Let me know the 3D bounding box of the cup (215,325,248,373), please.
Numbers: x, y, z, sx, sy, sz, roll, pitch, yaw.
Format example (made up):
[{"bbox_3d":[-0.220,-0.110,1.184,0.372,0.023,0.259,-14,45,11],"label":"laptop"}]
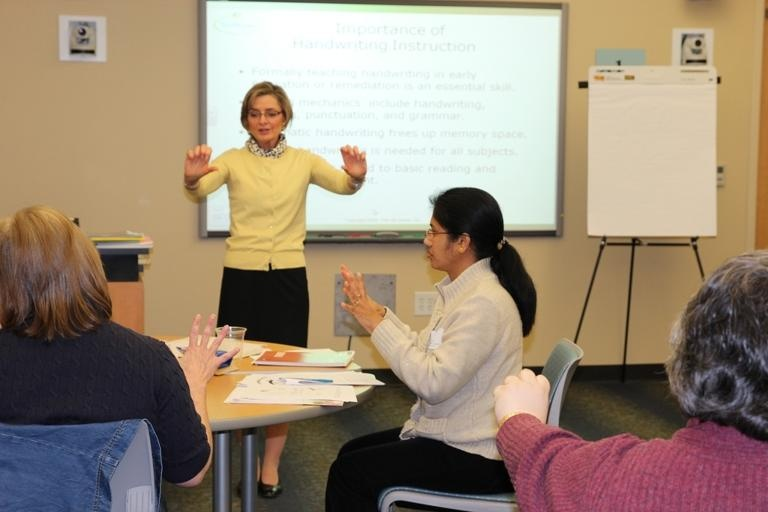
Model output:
[{"bbox_3d":[-0.584,0.335,2.347,0.144,0.130,0.161,0,3,-16],"label":"cup"}]

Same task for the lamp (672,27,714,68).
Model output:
[{"bbox_3d":[2.298,-1.517,4.534,0.286,0.308,0.157,4,9,44],"label":"lamp"}]

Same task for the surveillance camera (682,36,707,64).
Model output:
[{"bbox_3d":[2.267,-1.503,4.526,0.145,0.229,0.137,1,-2,7],"label":"surveillance camera"}]

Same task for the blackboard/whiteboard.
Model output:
[{"bbox_3d":[1.804,-0.742,4.243,1.014,1.446,0.168,1,1,-1],"label":"blackboard/whiteboard"}]

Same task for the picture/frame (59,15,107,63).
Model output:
[{"bbox_3d":[-1.993,-1.436,4.057,0.264,0.299,0.100,0,7,-8],"label":"picture/frame"}]
